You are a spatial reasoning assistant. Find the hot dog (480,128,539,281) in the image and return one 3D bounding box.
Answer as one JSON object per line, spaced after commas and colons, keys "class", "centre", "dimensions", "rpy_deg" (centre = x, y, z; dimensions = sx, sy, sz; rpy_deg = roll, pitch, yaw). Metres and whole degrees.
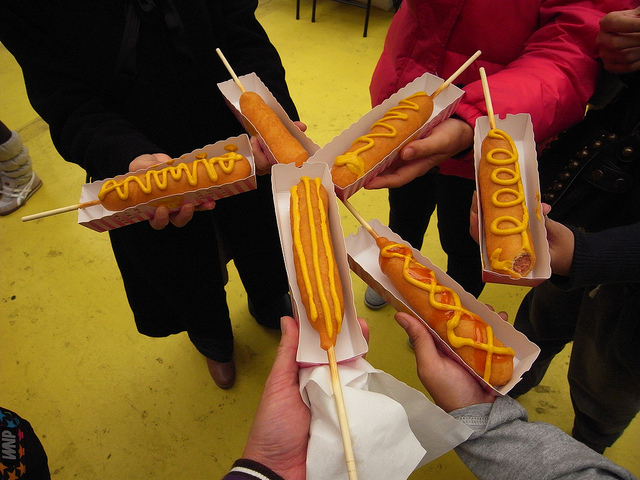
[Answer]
{"class": "hot dog", "centre": [1.106, -0.186, 3.168], "dimensions": [0.250, 0.280, 0.949], "rpy_deg": [-5, 71, 7]}
